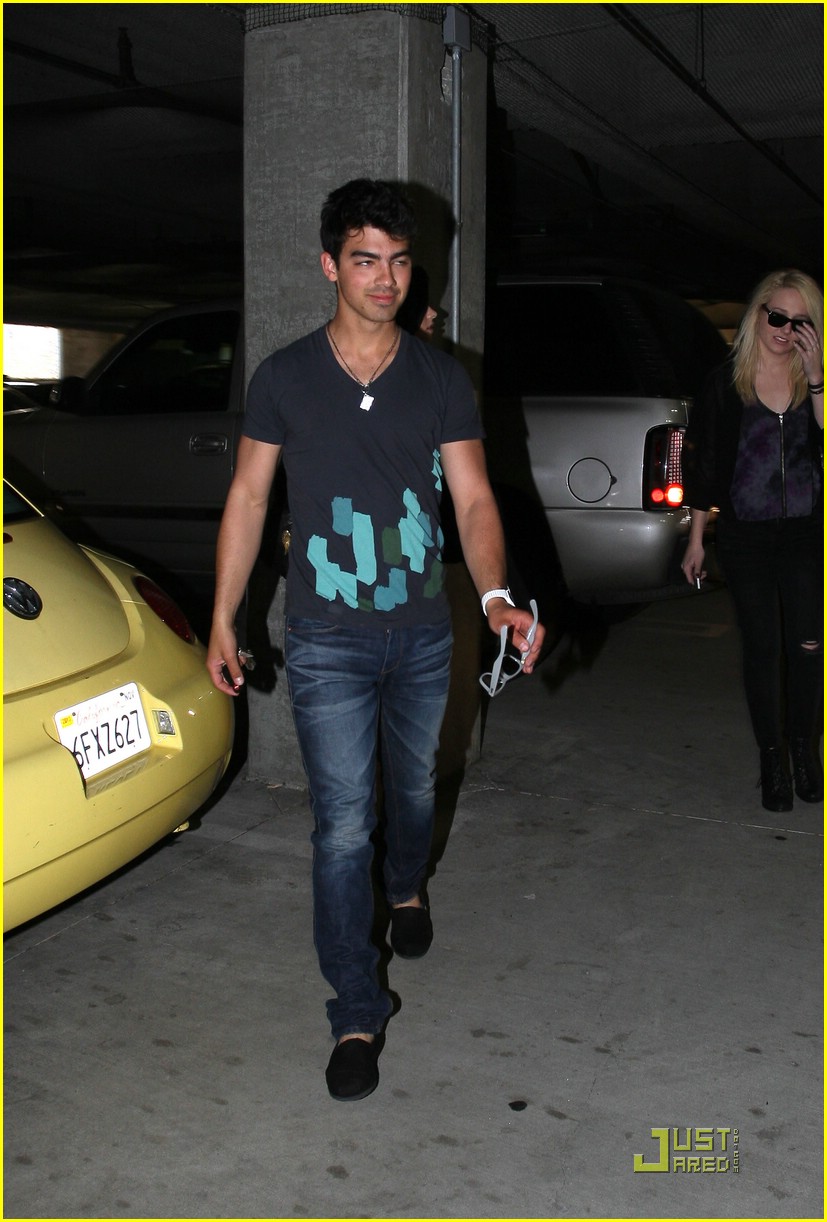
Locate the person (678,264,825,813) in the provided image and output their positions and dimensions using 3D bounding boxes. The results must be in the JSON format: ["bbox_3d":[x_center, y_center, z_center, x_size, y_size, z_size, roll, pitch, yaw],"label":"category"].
[{"bbox_3d":[1.253,-0.226,3.772,0.542,1.930,0.341,2,10,15],"label":"person"}]

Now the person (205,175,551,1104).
[{"bbox_3d":[-0.085,0.036,2.272,0.565,1.865,0.566,-7,11,-36],"label":"person"}]

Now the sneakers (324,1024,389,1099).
[{"bbox_3d":[-0.129,0.936,2.115,0.101,0.085,0.112,-2,9,-11],"label":"sneakers"}]

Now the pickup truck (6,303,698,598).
[{"bbox_3d":[-0.482,-0.812,5.572,3.817,1.408,1.491,6,10,21],"label":"pickup truck"}]

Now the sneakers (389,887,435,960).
[{"bbox_3d":[-0.012,0.841,2.743,0.079,0.055,0.190,-1,12,2],"label":"sneakers"}]

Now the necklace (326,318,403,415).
[{"bbox_3d":[-0.103,-0.505,2.145,0.153,0.180,0.135,-1,9,-5],"label":"necklace"}]
